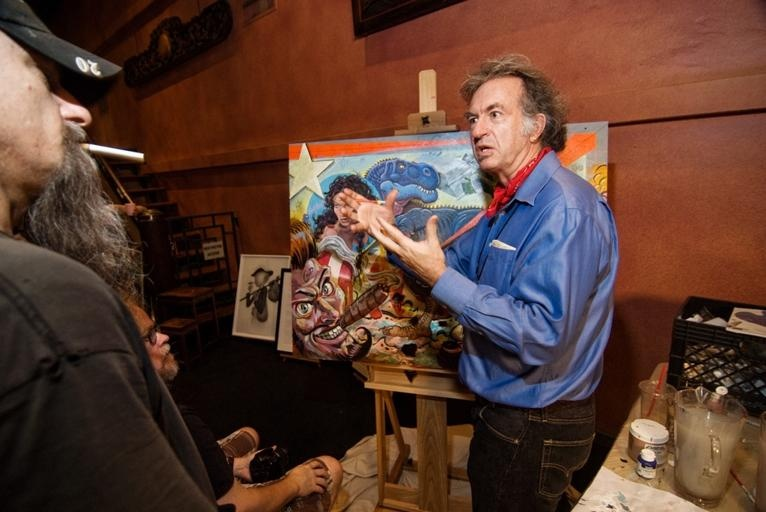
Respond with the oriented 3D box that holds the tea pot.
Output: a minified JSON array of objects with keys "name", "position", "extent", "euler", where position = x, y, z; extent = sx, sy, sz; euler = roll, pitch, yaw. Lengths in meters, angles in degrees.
[{"name":"tea pot","position":[1.167,0.687,1.852],"extent":[0.235,0.342,0.201],"euler":[-7,10,-31]}]

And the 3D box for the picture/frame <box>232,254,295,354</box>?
[{"name":"picture/frame","position":[-1.050,0.451,4.539],"extent":[0.800,0.900,0.060],"euler":[-3,-7,43]}]

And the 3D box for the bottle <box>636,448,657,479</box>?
[{"name":"bottle","position":[0.973,0.766,1.868],"extent":[0.066,0.105,0.066],"euler":[-11,21,4]}]

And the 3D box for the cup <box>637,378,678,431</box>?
[{"name":"cup","position":[1.127,0.601,2.128],"extent":[0.147,0.223,0.181],"euler":[-1,6,19]}]
